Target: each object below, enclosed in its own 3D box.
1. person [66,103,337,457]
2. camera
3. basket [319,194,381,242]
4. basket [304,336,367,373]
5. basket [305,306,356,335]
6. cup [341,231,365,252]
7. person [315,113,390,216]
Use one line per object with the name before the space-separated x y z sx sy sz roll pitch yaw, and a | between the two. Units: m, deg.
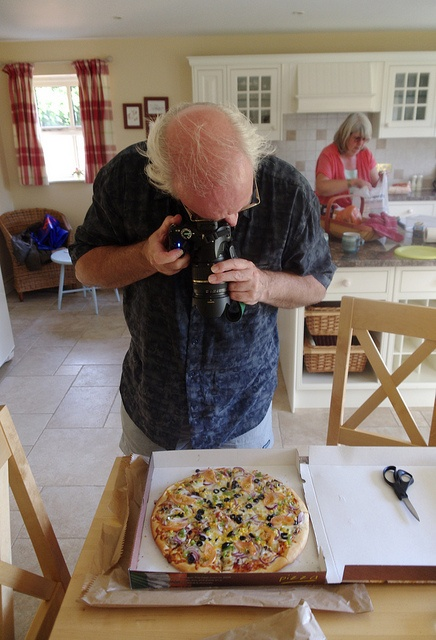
person | -0.059 -0.004 1.084 0.607 0.858 0.420 3 23 11
camera | -0.008 -0.108 0.905 0.175 0.072 0.205 -8 -16 1
basket | 0.663 -0.536 2.634 0.218 0.220 0.325 -7 26 -29
basket | 0.598 0.207 2.547 0.202 0.117 0.270 1 12 3
basket | 0.530 0.007 2.475 0.133 0.103 0.171 0 3 0
cup | 0.657 -0.382 2.421 0.118 0.084 0.077 2 13 -10
person | 0.845 -0.887 3.143 0.439 0.810 0.424 -6 32 -4
